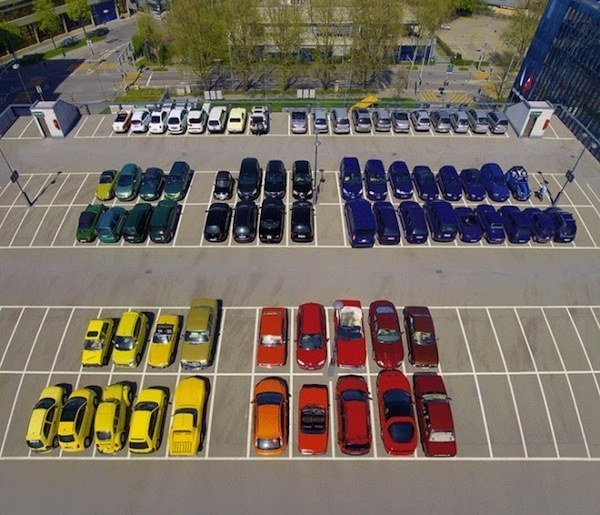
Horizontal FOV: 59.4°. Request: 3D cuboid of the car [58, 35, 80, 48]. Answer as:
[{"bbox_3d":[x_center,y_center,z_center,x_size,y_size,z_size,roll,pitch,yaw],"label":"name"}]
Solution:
[{"bbox_3d":[-35.384,-32.579,80.781,2.740,0.901,2.380,-17,74,-20],"label":"car"}]
